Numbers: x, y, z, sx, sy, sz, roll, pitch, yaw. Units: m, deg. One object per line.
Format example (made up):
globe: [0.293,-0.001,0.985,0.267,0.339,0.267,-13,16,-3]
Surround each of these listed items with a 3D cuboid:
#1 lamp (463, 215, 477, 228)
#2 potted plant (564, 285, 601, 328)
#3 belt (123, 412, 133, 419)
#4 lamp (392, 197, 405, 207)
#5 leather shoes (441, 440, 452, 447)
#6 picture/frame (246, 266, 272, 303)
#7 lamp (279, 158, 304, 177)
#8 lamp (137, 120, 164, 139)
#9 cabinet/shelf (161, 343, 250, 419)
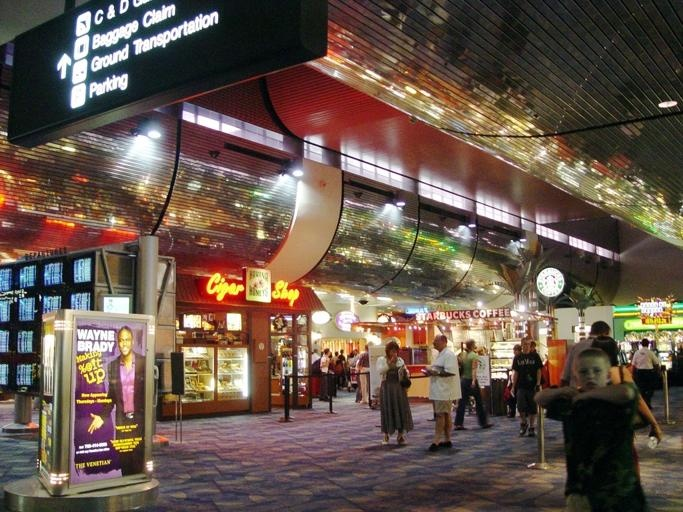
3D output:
lamp: [4.667,-1.262,20.185,0.458,0.440,0.434,0,-9,-2]
potted plant: [9.016,1.860,20.993,1.744,1.618,1.560,1,-10,-2]
belt: [-2.278,1.706,5.966,0.105,0.062,0.004,14,-16,-38]
lamp: [1.788,-1.629,17.196,0.350,0.178,0.751,2,-12,8]
leather shoes: [1.694,3.030,9.021,0.086,0.087,0.219,3,-5,-22]
picture/frame: [-2.181,0.764,14.502,0.136,0.935,0.933,-12,-14,36]
lamp: [-1.179,-2.135,13.645,0.490,0.506,0.373,4,-28,23]
lamp: [-3.745,-2.459,10.975,0.347,0.295,0.324,-7,-30,-2]
cabinet/shelf: [-3.197,2.942,12.902,2.511,1.869,0.788,4,-7,-41]
